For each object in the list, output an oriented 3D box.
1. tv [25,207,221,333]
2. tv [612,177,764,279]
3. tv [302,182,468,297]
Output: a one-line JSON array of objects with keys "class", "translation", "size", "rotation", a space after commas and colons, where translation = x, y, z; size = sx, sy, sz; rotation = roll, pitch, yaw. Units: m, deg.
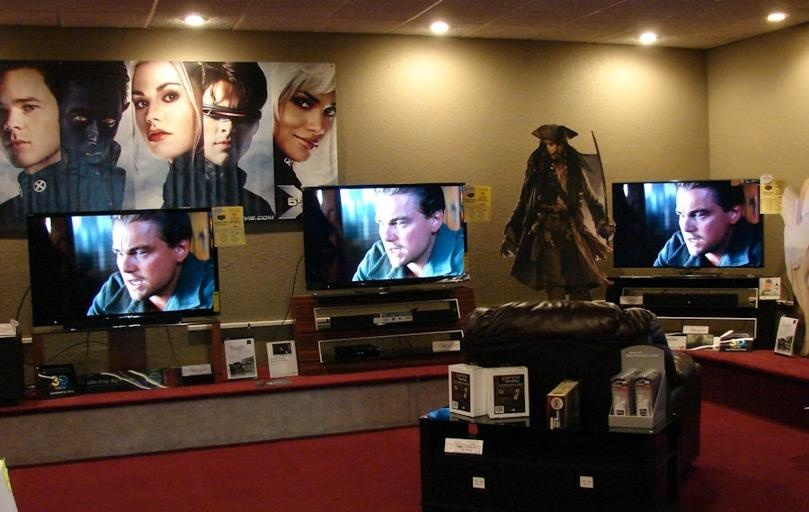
[{"class": "tv", "translation": [-2.486, 0.118, 5.548], "size": [1.310, 0.724, 0.347], "rotation": [-2, -1, -6]}, {"class": "tv", "translation": [2.899, -0.307, 6.419], "size": [1.285, 0.660, 0.055], "rotation": [-1, 2, 11]}, {"class": "tv", "translation": [-0.203, -0.171, 5.995], "size": [1.318, 0.672, 0.054], "rotation": [-2, 0, -8]}]
